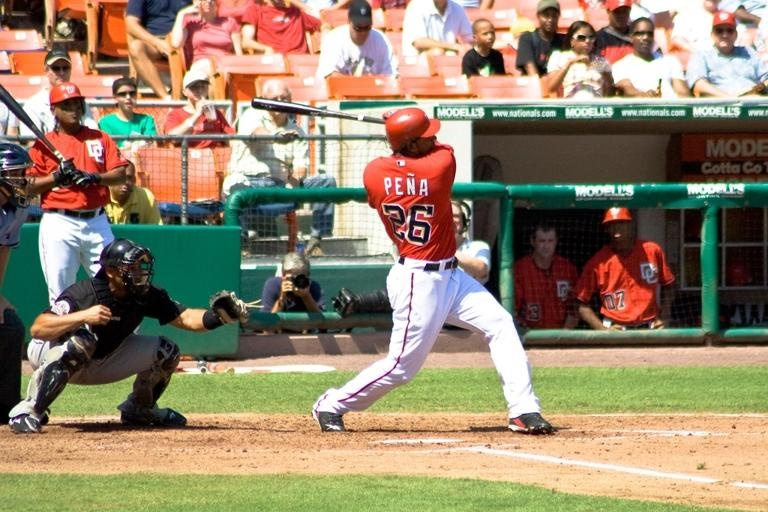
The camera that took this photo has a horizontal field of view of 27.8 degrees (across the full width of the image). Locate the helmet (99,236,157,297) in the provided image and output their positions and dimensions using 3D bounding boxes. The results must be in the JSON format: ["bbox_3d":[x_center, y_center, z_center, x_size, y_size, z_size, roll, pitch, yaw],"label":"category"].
[{"bbox_3d":[-2.233,0.080,13.485,0.512,0.424,0.404,7,9,19],"label":"helmet"}]

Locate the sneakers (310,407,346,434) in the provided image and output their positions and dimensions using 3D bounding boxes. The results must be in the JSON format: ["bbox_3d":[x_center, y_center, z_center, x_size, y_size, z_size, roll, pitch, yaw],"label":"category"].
[{"bbox_3d":[-0.469,1.469,13.616,0.360,0.155,0.129,7,4,11],"label":"sneakers"}]

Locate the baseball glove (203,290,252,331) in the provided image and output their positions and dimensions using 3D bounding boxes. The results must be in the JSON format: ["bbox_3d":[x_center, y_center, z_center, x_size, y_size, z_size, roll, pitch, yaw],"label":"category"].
[{"bbox_3d":[-1.275,0.488,13.487,0.183,0.344,0.195,-35,15,-26],"label":"baseball glove"}]

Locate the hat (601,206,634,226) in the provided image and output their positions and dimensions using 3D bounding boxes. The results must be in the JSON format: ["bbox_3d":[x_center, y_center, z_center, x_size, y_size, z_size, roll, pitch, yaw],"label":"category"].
[{"bbox_3d":[2.505,-0.418,16.823,0.338,0.219,0.245,5,13,21],"label":"hat"}]

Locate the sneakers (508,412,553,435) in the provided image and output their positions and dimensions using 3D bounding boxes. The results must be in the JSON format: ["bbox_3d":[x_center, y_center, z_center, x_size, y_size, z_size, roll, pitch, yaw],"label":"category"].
[{"bbox_3d":[1.270,1.473,13.423,0.340,0.149,0.178,-8,-7,44],"label":"sneakers"}]

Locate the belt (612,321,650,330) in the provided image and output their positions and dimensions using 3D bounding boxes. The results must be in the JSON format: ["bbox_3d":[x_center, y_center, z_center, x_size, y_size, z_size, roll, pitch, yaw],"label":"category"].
[{"bbox_3d":[2.665,0.774,16.807,0.440,0.076,0.066,-2,12,-14],"label":"belt"}]

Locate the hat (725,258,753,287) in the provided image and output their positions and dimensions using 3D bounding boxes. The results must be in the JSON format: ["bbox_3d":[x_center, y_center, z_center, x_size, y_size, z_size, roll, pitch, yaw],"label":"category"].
[{"bbox_3d":[4.192,0.233,18.426,0.161,0.160,0.292,14,27,33],"label":"hat"}]

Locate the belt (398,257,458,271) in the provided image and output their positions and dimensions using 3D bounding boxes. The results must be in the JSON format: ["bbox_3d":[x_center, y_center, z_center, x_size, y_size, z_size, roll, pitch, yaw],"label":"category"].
[{"bbox_3d":[0.374,0.079,13.374,0.507,0.114,0.161,0,12,-2],"label":"belt"}]

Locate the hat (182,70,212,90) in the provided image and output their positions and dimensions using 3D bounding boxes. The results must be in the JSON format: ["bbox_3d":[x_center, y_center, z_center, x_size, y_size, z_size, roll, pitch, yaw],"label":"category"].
[{"bbox_3d":[-2.096,-1.968,17.446,0.271,0.197,0.465,-1,12,-6],"label":"hat"}]

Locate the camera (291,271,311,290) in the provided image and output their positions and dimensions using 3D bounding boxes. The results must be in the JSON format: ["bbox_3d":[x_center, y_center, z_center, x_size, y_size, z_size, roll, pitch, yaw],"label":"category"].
[{"bbox_3d":[-0.863,0.284,16.260,0.175,0.144,0.154,-5,5,-14],"label":"camera"}]

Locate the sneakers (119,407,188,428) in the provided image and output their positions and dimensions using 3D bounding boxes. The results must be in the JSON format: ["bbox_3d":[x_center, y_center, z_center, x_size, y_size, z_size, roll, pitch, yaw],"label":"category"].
[{"bbox_3d":[-2.032,1.454,13.734,0.407,0.151,0.236,0,-2,-11],"label":"sneakers"}]

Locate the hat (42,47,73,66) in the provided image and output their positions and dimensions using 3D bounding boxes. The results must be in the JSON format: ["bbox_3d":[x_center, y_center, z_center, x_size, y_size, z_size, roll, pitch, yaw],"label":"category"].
[{"bbox_3d":[-3.464,-2.105,16.541,0.244,0.165,0.239,-3,12,-18],"label":"hat"}]

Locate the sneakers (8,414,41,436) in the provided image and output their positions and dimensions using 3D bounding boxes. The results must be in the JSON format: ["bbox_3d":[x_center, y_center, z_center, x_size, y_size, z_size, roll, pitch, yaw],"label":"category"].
[{"bbox_3d":[-3.082,1.472,13.394,0.221,0.090,0.157,13,41,12],"label":"sneakers"}]
